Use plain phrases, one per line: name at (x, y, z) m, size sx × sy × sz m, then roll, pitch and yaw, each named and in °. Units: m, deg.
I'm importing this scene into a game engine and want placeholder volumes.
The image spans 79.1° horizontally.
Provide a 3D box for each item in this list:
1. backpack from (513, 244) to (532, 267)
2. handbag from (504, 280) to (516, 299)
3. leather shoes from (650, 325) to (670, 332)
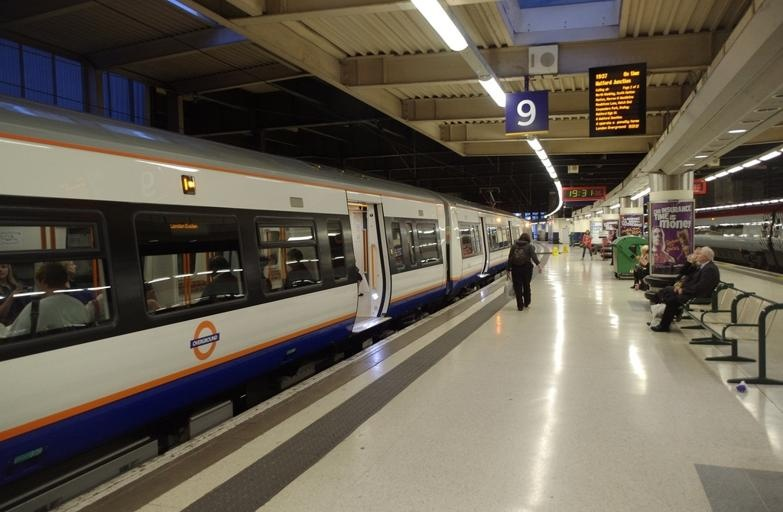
backpack at (3.148, 0.008, 11.517) m, size 0.413 × 0.545 × 0.530 m, roll -4°, pitch -18°, yaw 23°
handbag at (3.149, 0.902, 12.604) m, size 0.228 × 0.542 × 0.585 m, roll 0°, pitch 5°, yaw 15°
leather shoes at (5.135, 1.376, 9.100) m, size 0.340 × 0.140 × 0.118 m, roll 6°, pitch 2°, yaw 30°
